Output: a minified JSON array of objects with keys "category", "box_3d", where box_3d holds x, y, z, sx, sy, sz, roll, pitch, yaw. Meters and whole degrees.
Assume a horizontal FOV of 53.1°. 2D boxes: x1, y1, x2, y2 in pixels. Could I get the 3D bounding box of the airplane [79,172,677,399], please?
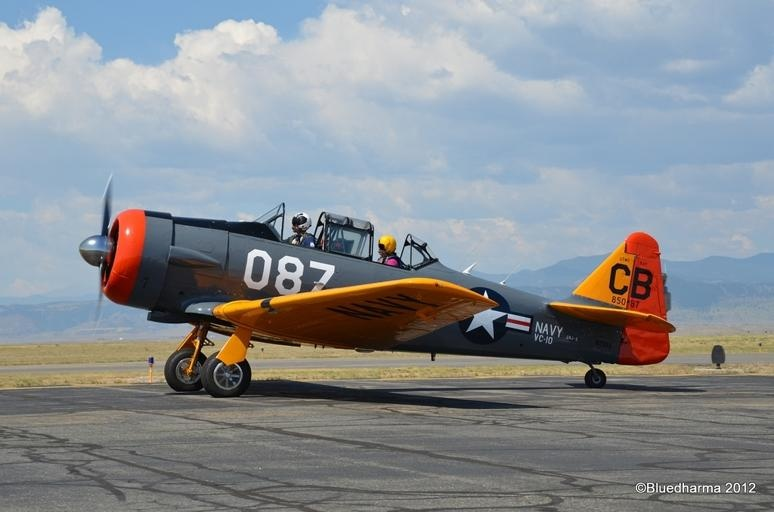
[{"category":"airplane","box_3d":[1.424,1.248,18.173,15.821,4.305,6.279,3,-2,-20]}]
